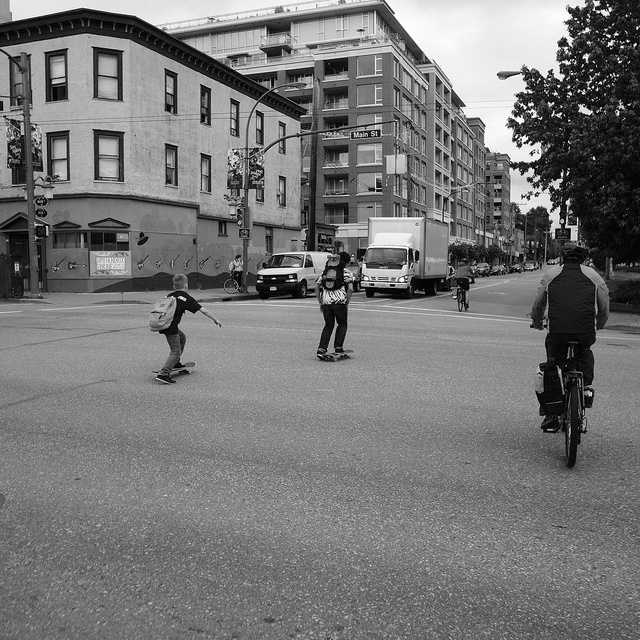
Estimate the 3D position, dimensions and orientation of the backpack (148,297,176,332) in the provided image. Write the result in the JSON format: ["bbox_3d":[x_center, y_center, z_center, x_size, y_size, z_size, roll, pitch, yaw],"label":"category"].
[{"bbox_3d":[-1.957,-0.059,9.661,0.304,0.435,0.348,1,4,-1],"label":"backpack"}]

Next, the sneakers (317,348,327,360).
[{"bbox_3d":[0.030,0.512,11.669,0.142,0.177,0.286,0,5,-3],"label":"sneakers"}]

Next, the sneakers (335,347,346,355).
[{"bbox_3d":[0.314,0.478,11.871,0.066,0.112,0.223,5,9,26],"label":"sneakers"}]

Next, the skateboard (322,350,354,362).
[{"bbox_3d":[0.259,0.554,11.814,0.165,0.136,0.665,8,10,34],"label":"skateboard"}]

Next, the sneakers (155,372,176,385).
[{"bbox_3d":[-1.878,0.707,9.490,0.097,0.171,0.317,9,4,34],"label":"sneakers"}]

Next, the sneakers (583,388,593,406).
[{"bbox_3d":[2.219,0.641,6.452,0.095,0.166,0.142,2,1,12],"label":"sneakers"}]

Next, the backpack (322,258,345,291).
[{"bbox_3d":[0.200,-0.680,11.684,0.276,0.524,0.454,1,-17,6],"label":"backpack"}]

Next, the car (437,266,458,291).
[{"bbox_3d":[6.374,-1.966,38.640,0.691,0.739,1.758,0,2,15],"label":"car"}]

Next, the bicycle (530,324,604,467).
[{"bbox_3d":[2.039,0.655,6.362,0.418,0.991,0.922,1,4,4],"label":"bicycle"}]

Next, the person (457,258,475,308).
[{"bbox_3d":[4.388,-1.023,23.847,0.715,1.217,1.724,1,12,9],"label":"person"}]

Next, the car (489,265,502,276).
[{"bbox_3d":[21.341,-5.839,94.607,1.146,1.187,2.981,-2,0,26],"label":"car"}]

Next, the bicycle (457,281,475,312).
[{"bbox_3d":[4.372,-0.749,23.536,0.431,0.766,1.107,2,14,13],"label":"bicycle"}]

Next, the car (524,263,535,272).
[{"bbox_3d":[33.790,-8.337,125.075,1.053,1.192,2.592,-1,-1,18],"label":"car"}]

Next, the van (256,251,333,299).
[{"bbox_3d":[-0.880,-1.641,30.241,1.425,1.478,2.943,0,1,26],"label":"van"}]

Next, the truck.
[{"bbox_3d":[3.447,-2.563,32.024,1.878,2.956,4.831,1,2,18],"label":"truck"}]

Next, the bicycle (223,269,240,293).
[{"bbox_3d":[-3.539,-1.691,31.765,0.625,1.328,0.585,2,-17,2],"label":"bicycle"}]

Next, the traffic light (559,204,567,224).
[{"bbox_3d":[8.753,-3.724,27.940,0.213,0.764,0.515,1,4,14],"label":"traffic light"}]

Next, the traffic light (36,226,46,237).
[{"bbox_3d":[-9.362,-2.920,26.104,0.300,0.382,0.080,3,4,-1],"label":"traffic light"}]

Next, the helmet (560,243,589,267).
[{"bbox_3d":[2.183,-0.545,6.637,0.140,0.221,0.197,1,8,1],"label":"helmet"}]
